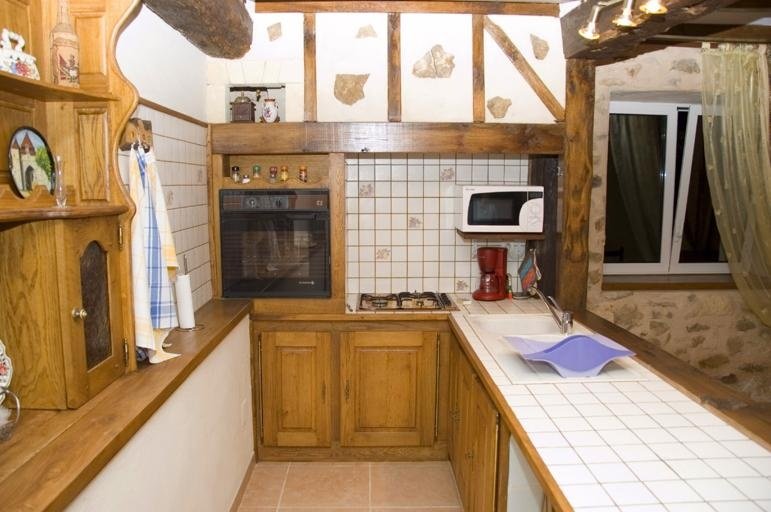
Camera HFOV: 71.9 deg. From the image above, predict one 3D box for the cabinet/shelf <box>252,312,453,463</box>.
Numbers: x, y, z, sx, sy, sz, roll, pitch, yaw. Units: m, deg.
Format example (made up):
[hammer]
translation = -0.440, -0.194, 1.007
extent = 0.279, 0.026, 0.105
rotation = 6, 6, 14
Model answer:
[cabinet/shelf]
translation = -0.248, 0.925, 3.952
extent = 1.219, 0.807, 0.389
rotation = 0, 2, 0

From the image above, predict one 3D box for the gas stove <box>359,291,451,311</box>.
[gas stove]
translation = 0.153, 0.351, 4.154
extent = 0.715, 0.078, 0.478
rotation = -1, 6, -1

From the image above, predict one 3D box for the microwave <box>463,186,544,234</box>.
[microwave]
translation = 0.874, -0.341, 3.922
extent = 0.616, 0.365, 0.357
rotation = 0, 1, -7

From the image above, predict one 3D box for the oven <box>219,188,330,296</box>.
[oven]
translation = -0.743, -0.088, 4.136
extent = 0.922, 0.807, 0.511
rotation = 0, 2, 11

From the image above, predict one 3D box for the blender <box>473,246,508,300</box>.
[blender]
translation = 0.829, 0.138, 4.233
extent = 0.392, 0.498, 0.356
rotation = 1, 5, 4

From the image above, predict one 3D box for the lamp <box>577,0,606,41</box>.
[lamp]
translation = 0.980, -1.111, 2.533
extent = 0.092, 0.193, 0.272
rotation = 1, 7, 21

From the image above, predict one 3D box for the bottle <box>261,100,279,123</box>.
[bottle]
translation = -0.851, -1.075, 3.939
extent = 0.126, 0.184, 0.136
rotation = -1, 7, 0
